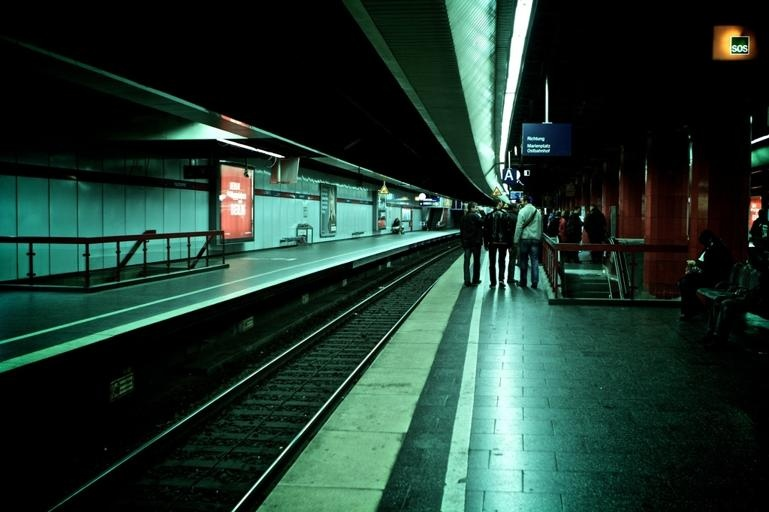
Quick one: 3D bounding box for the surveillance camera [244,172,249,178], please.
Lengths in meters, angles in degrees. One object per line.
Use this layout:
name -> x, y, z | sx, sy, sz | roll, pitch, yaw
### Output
surveillance camera -> -4.151, -2.447, 21.823 | 0.189, 0.143, 0.114 | 0, -5, 2

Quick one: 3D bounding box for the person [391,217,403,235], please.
person -> 0.822, -1.844, 45.402 | 0.790, 0.947, 0.600 | 10, 4, -4
